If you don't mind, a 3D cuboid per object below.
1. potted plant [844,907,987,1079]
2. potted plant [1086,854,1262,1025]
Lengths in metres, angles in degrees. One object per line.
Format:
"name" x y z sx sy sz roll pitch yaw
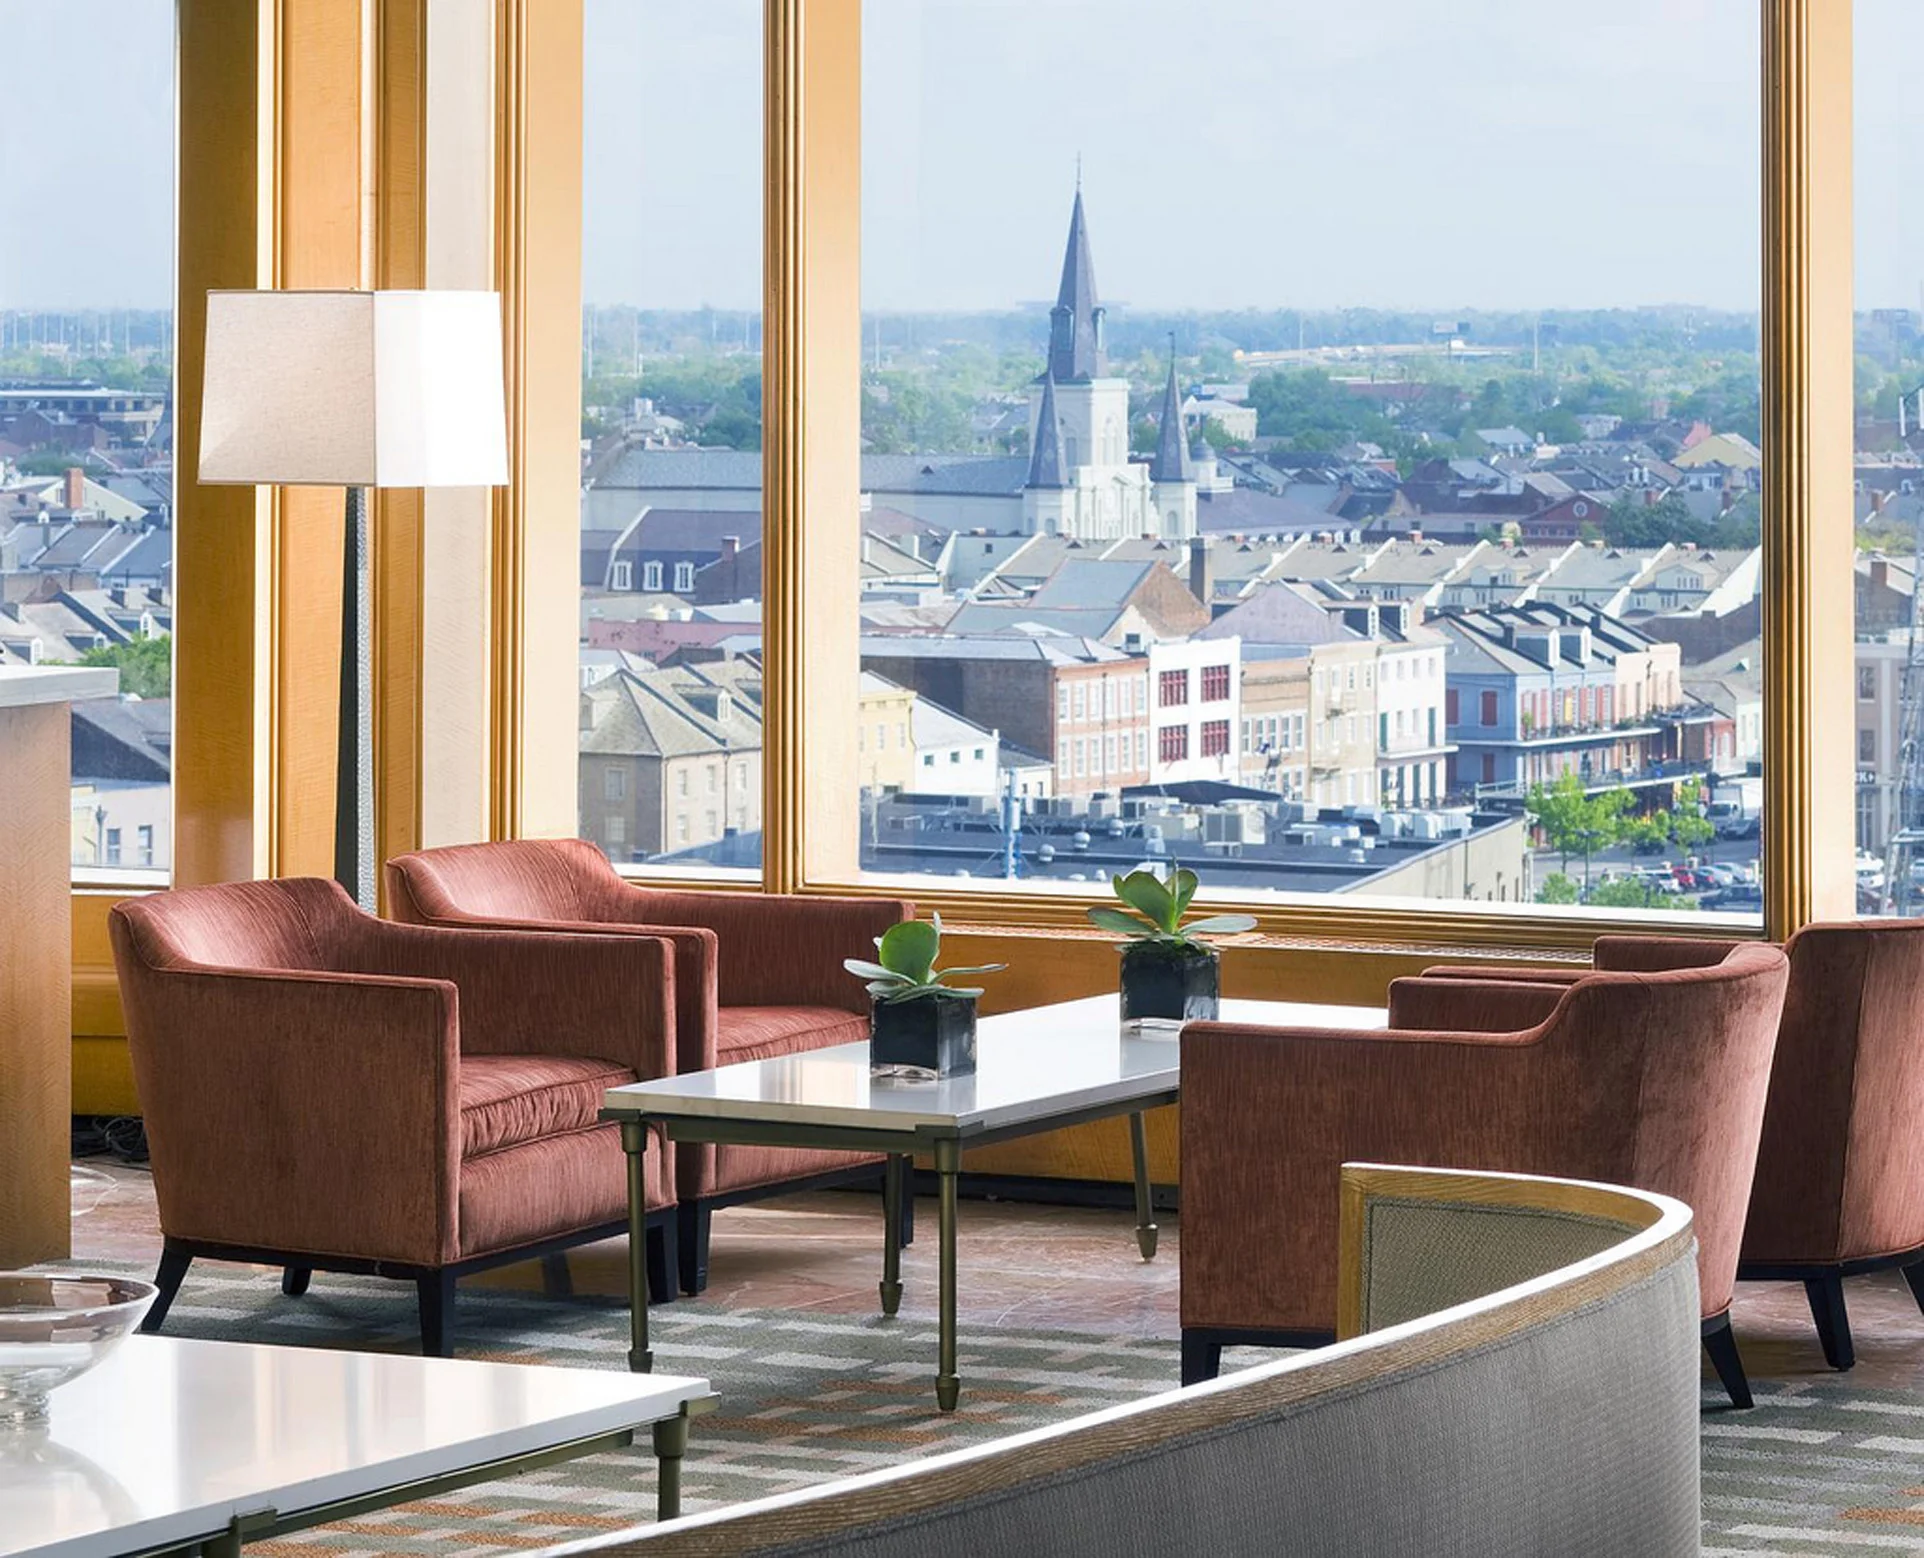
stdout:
"potted plant" -0.083 0.433 5.941 0.314 0.280 0.303 -9 0 -35
"potted plant" 0.473 0.354 6.549 0.272 0.276 0.295 -2 3 -23
